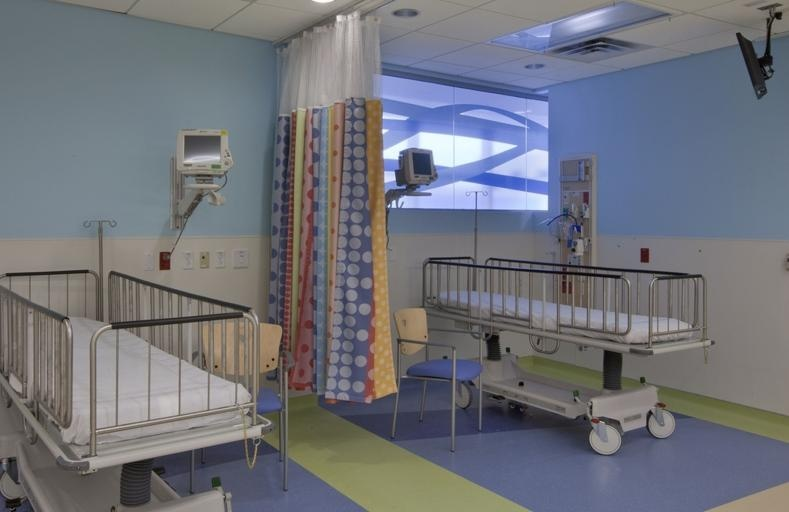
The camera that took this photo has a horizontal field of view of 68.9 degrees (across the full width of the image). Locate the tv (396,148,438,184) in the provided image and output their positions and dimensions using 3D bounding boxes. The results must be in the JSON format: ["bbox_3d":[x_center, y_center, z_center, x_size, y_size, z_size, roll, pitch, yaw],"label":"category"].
[{"bbox_3d":[0.202,-0.871,5.614,0.406,0.350,0.233,3,-8,-40],"label":"tv"}]
